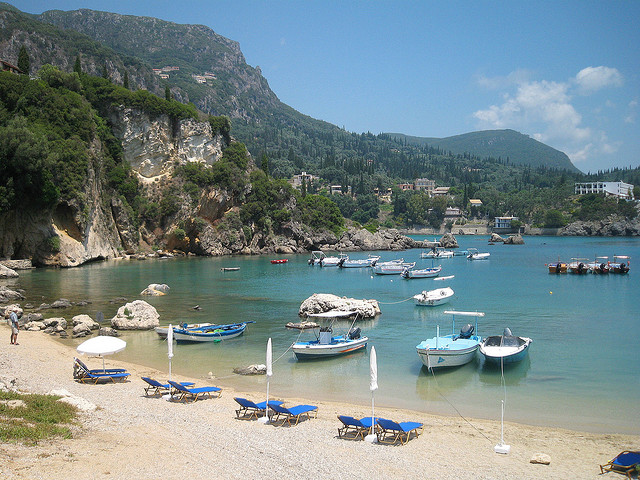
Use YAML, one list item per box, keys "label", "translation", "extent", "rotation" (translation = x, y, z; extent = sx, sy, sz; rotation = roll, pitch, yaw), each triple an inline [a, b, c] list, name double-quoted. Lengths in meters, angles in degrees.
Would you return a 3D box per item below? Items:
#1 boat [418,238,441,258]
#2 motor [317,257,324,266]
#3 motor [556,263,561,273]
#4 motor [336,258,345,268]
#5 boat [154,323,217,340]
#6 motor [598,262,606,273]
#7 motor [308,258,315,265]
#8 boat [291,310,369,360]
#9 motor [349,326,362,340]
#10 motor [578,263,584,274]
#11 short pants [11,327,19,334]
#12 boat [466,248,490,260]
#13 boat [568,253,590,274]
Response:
- label: "boat"
  translation: [27.764, 2.339, 153.609]
  extent: [4.369, 2.731, 6.511]
  rotation: [3, 8, 13]
- label: "motor"
  translation: [0.263, 3.827, 114.480]
  extent: [0.363, 1.317, 0.917]
  rotation: [12, -7, -18]
- label: "motor"
  translation: [39.073, 4.492, 99.344]
  extent: [0.613, 1.433, 0.910]
  rotation: [0, -2, 14]
- label: "motor"
  translation: [4.071, 4.281, 114.206]
  extent: [1.175, 1.524, 0.949]
  rotation: [0, -2, 1]
- label: "boat"
  translation: [-11.828, 7.537, 51.452]
  extent: [3.677, 0.904, 2.043]
  rotation: [-2, 0, -23]
- label: "motor"
  translation: [45.750, 4.445, 98.332]
  extent: [0.735, 1.418, 0.919]
  rotation: [0, -2, 20]
- label: "motor"
  translation: [-1.579, 3.989, 118.169]
  extent: [0.800, 0.956, 3.188]
  rotation: [28, 0, 3]
- label: "boat"
  translation: [1.220, 8.314, 48.932]
  extent: [2.632, 3.046, 6.670]
  rotation: [6, 8, 39]
- label: "motor"
  translation: [2.851, 7.385, 48.675]
  extent: [0.861, 0.904, 0.654]
  rotation: [1, -7, -8]
- label: "motor"
  translation: [42.550, 4.426, 99.077]
  extent: [0.595, 1.405, 0.536]
  rotation: [2, -11, 3]
- label: "short pants"
  translation: [-22.797, 6.658, 45.374]
  extent: [0.328, 0.472, 0.784]
  rotation: [2, -2, -33]
- label: "boat"
  translation: [37.871, 3.224, 145.400]
  extent: [5.330, 2.513, 1.990]
  rotation: [0, 5, 9]
- label: "boat"
  translation: [43.135, 4.345, 101.049]
  extent: [2.015, 1.997, 4.189]
  rotation: [1, 5, 15]
